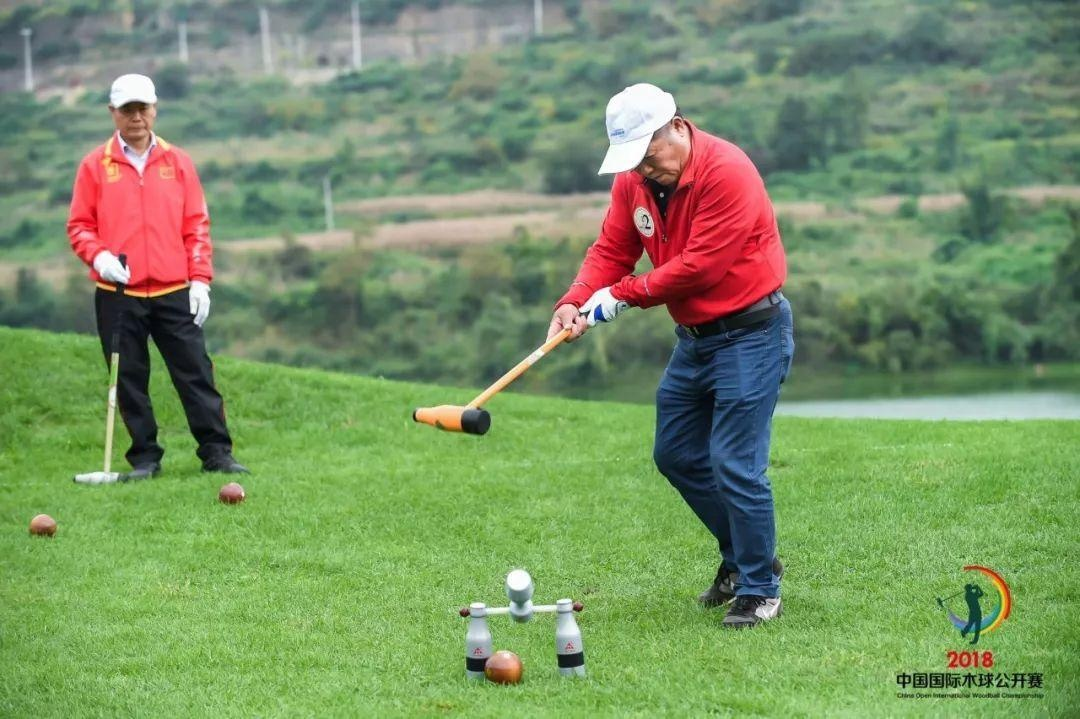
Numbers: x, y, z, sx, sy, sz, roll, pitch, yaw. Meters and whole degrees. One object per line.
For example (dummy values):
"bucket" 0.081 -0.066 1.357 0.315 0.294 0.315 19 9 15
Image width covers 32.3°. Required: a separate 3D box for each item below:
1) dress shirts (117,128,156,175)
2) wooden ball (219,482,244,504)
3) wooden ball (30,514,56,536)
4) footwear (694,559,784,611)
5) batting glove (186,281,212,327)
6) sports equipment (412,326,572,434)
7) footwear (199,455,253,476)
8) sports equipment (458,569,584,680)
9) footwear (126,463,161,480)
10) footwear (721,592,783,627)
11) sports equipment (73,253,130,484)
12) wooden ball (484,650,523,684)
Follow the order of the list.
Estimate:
"dress shirts" -3.351 -1.745 15.569 0.285 0.363 0.155 -6 1 -12
"wooden ball" -2.522 1.061 15.321 0.189 0.141 0.142 6 42 -29
"wooden ball" -3.936 1.280 14.846 0.172 0.167 0.168 1 -6 0
"footwear" 1.473 1.622 13.948 0.827 0.357 0.275 -13 -1 41
"batting glove" -2.853 -0.505 15.758 0.226 0.343 0.156 0 5 -13
"sports equipment" -0.137 0.123 14.144 0.563 0.257 1.561 16 44 41
"footwear" -2.645 0.866 15.800 0.411 0.172 0.156 2 0 4
"sports equipment" -0.110 1.862 13.199 0.886 0.753 0.391 -3 -8 3
"footwear" -3.321 0.904 15.651 0.126 0.098 0.249 -10 -6 41
"footwear" 1.563 1.808 13.637 0.388 0.174 0.190 1 -4 -18
"sports equipment" -3.670 0.177 15.589 0.450 1.639 0.397 -6 8 -34
"wooden ball" -0.247 2.139 13.156 0.224 0.210 0.221 6 8 -1
